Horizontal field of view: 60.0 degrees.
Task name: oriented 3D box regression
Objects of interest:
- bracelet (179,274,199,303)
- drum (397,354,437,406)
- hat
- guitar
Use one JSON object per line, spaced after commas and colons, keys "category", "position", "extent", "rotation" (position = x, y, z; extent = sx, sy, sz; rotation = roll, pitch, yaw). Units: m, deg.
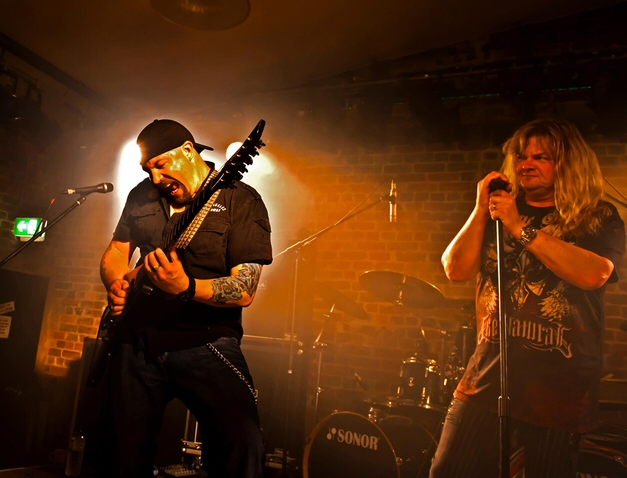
{"category": "bracelet", "position": [-0.654, 0.272, 2.934], "extent": [0.120, 0.131, 0.090], "rotation": [-14, -21, 33]}
{"category": "drum", "position": [0.777, 1.165, 4.520], "extent": [0.349, 0.428, 0.309], "rotation": [9, -19, -6]}
{"category": "hat", "position": [-0.872, -0.595, 3.332], "extent": [0.400, 0.221, 0.284], "rotation": [-24, 14, -29]}
{"category": "guitar", "position": [-0.733, 0.252, 3.300], "extent": [0.697, 2.036, 0.176], "rotation": [36, 11, 37]}
